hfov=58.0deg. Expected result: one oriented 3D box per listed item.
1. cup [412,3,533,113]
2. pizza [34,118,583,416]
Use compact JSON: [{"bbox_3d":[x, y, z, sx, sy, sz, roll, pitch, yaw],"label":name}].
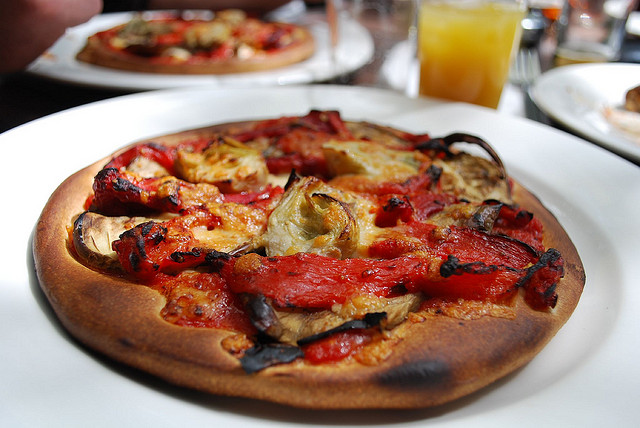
[{"bbox_3d":[0.572,-0.610,2.301,0.402,0.474,0.354,9,54,11],"label":"cup"},{"bbox_3d":[-0.012,0.117,1.413,1.332,0.255,0.763,-6,52,0],"label":"pizza"}]
